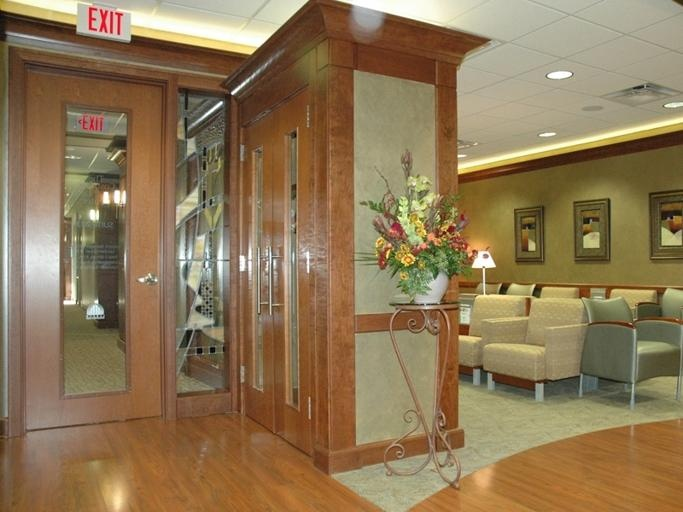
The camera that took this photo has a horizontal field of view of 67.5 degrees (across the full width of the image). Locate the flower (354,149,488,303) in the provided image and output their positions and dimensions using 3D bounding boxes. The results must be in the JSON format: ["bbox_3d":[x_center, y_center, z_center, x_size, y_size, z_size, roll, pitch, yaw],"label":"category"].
[{"bbox_3d":[0.556,-0.251,3.983,0.797,1.232,0.706,0,2,-16],"label":"flower"}]

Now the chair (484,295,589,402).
[{"bbox_3d":[2.348,1.058,6.474,1.152,1.248,1.098,3,-4,-41],"label":"chair"}]

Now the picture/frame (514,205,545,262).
[{"bbox_3d":[3.904,-0.441,10.626,0.152,1.145,0.754,0,2,-24],"label":"picture/frame"}]

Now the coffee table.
[{"bbox_3d":[0.654,1.014,4.084,0.616,1.345,0.999,1,2,13],"label":"coffee table"}]

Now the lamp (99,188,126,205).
[{"bbox_3d":[-2.312,-0.588,5.207,0.249,0.158,0.142,0,-5,-6],"label":"lamp"}]

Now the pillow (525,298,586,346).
[{"bbox_3d":[2.679,0.768,6.507,0.537,0.722,0.714,7,-10,-43],"label":"pillow"}]

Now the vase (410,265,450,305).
[{"bbox_3d":[0.668,0.212,3.828,0.240,0.174,0.239,-2,4,-26],"label":"vase"}]
